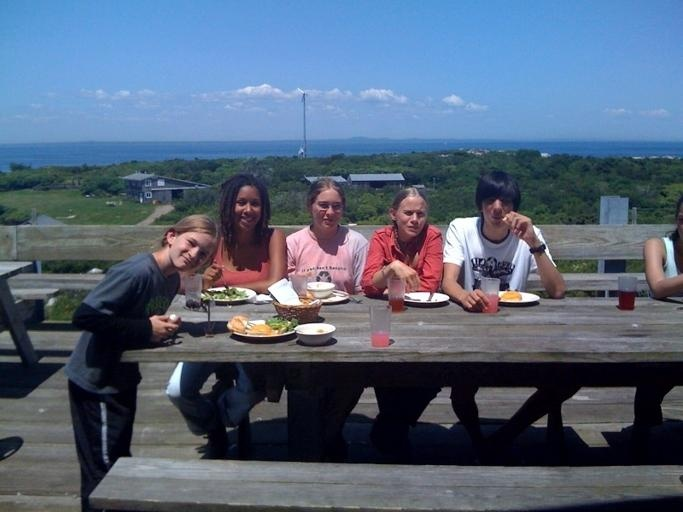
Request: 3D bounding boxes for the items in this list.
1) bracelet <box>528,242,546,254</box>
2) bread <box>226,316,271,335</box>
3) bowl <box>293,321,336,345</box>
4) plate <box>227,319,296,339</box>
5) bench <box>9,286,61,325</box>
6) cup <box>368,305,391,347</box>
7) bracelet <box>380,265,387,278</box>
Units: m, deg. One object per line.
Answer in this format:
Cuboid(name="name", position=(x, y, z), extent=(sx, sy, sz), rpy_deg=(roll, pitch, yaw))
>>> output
Cuboid(name="bracelet", position=(1.202, -0.034, 3.845), extent=(0.088, 0.055, 0.090), rpy_deg=(-19, -6, 15))
Cuboid(name="bread", position=(-0.422, 0.330, 2.889), extent=(0.123, 0.035, 0.118), rpy_deg=(3, 4, 5))
Cuboid(name="bowl", position=(-0.124, 0.361, 2.851), extent=(0.177, 0.078, 0.174), rpy_deg=(1, 3, 0))
Cuboid(name="plate", position=(-0.370, 0.336, 2.932), extent=(0.311, 0.070, 0.202), rpy_deg=(1, 3, 8))
Cuboid(name="bench", position=(-2.456, 0.425, 4.957), extent=(0.378, 0.115, 0.536), rpy_deg=(-2, 9, -9))
Cuboid(name="cup", position=(0.180, 0.314, 2.861), extent=(0.095, 0.182, 0.194), rpy_deg=(1, 3, 5))
Cuboid(name="bracelet", position=(0.253, 0.090, 3.626), extent=(0.046, 0.048, 0.051), rpy_deg=(1, -1, 5))
